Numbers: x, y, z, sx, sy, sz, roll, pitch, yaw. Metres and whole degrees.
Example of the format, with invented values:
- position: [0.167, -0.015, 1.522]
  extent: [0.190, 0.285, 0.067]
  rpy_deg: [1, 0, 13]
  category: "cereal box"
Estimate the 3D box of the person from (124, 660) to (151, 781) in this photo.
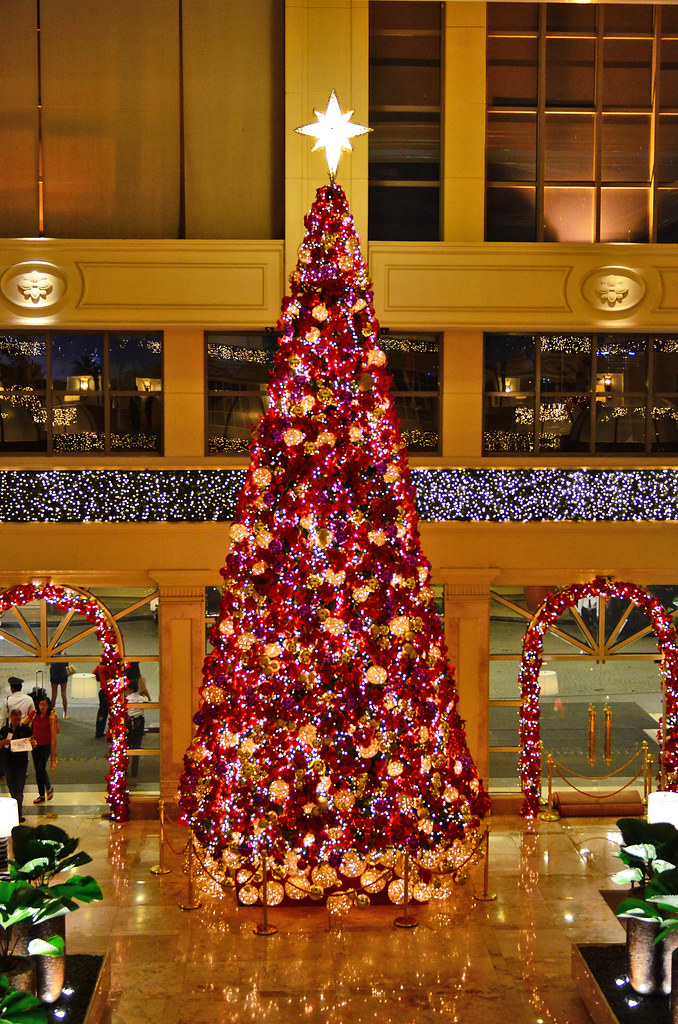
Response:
- position: [-1.917, 1.985, 11.386]
  extent: [0.216, 1.179, 0.533]
  rpy_deg: [-2, 4, -9]
  category: "person"

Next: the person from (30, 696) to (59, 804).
- position: [-2.715, 2.196, 10.976]
  extent: [0.213, 1.084, 0.666]
  rpy_deg: [-2, 4, -14]
  category: "person"
